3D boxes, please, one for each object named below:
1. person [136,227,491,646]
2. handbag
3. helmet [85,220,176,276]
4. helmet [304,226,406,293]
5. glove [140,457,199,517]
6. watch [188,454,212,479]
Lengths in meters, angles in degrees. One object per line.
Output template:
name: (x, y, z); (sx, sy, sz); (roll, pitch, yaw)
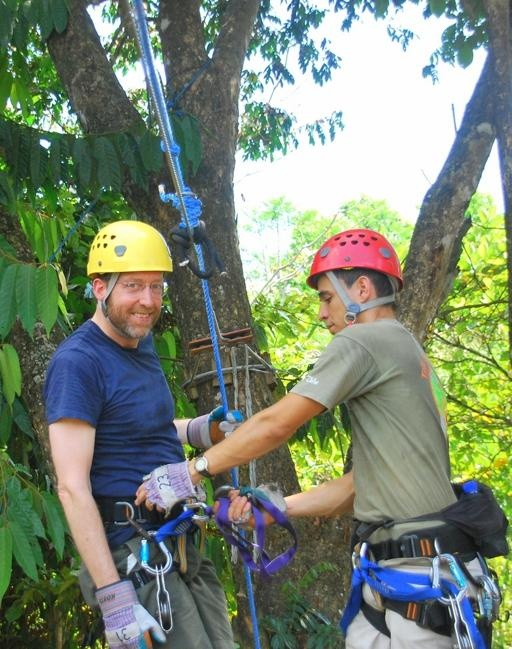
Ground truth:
person: (0.268, 0.393, 2.647); (0.924, 1.564, 0.654); (-9, -6, 14)
handbag: (0.768, 0.698, 2.520); (0.121, 0.301, 0.228); (-32, 14, 49)
helmet: (-0.512, -0.296, 2.847); (0.268, 0.165, 0.224); (0, 4, 14)
helmet: (0.403, -0.252, 2.822); (0.262, 0.151, 0.256); (14, -21, -29)
glove: (-0.297, 0.546, 2.444); (0.183, 0.152, 0.073); (-27, -19, 13)
watch: (-0.189, 0.485, 2.433); (0.055, 0.081, 0.080); (-16, -5, 8)
